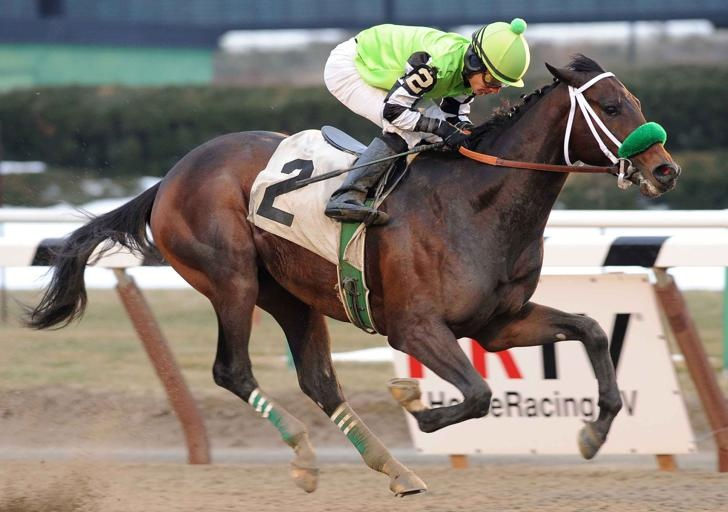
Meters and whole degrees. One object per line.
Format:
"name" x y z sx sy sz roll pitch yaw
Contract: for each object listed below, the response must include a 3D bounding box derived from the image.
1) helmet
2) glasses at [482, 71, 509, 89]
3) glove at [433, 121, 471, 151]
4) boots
"helmet" 0.774 -1.091 7.750 0.321 0.441 0.316 -11 33 -8
"glasses" 0.726 -0.971 7.700 0.084 0.048 0.106 4 23 -43
"glove" 0.518 -0.680 7.768 0.141 0.167 0.181 23 40 37
"boots" 0.007 -0.419 7.779 0.355 0.405 0.420 5 32 16
